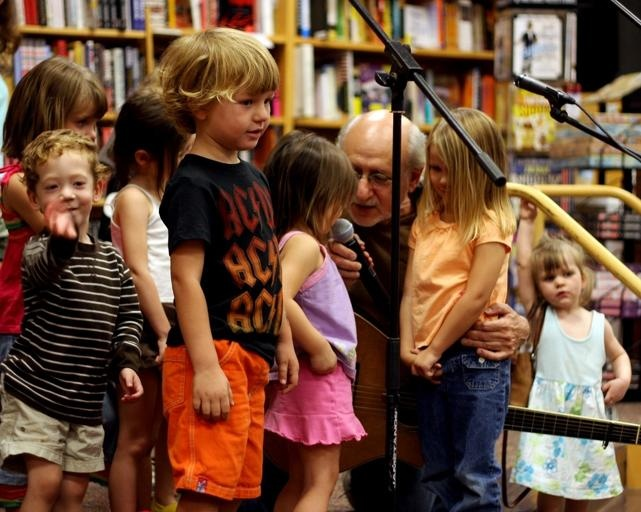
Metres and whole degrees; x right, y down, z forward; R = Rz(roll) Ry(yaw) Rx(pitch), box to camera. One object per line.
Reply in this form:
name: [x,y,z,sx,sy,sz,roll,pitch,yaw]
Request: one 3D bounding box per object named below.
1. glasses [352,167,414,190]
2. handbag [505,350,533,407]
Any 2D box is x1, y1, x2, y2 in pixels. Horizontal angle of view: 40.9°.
glasses: [0.181,-0.243,2.658,0.077,0.034,0.113,9,-10,32]
handbag: [0.649,0.396,2.823,0.097,0.050,0.204,-8,24,19]
